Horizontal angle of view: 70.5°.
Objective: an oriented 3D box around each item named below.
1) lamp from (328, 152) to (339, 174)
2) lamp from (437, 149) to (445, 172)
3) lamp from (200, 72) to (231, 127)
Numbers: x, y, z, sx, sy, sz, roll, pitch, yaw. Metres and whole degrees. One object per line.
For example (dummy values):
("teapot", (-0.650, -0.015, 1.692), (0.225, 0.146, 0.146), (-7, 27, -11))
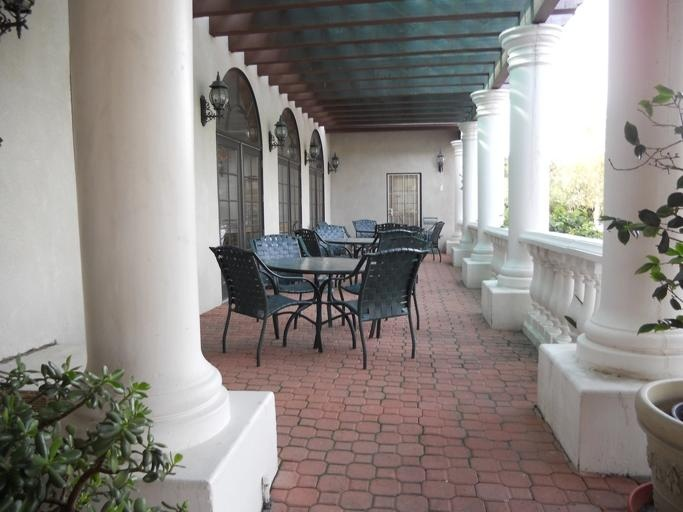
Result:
("lamp", (-0.257, -3.049, 15.675), (0.403, 0.701, 1.082), (-1, 7, -2))
("lamp", (3.185, -3.048, 15.531), (0.284, 0.724, 0.464), (0, 7, 8))
("lamp", (-1.710, -2.120, 6.581), (0.358, 0.728, 0.501), (-1, 7, -5))
